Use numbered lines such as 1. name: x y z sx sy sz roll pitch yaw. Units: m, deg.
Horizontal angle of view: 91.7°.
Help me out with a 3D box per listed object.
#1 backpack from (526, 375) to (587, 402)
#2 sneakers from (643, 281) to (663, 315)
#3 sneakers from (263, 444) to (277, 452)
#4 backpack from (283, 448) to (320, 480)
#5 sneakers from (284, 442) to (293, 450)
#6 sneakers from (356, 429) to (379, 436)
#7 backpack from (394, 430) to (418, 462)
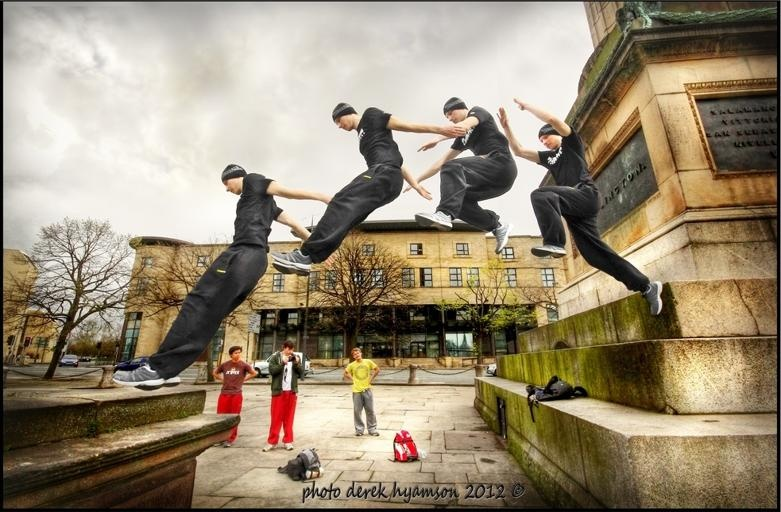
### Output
1. backpack: 2.398 1.968 5.485 0.556 0.218 0.449 4 -20 -6
2. sneakers: 3.305 0.523 4.816 0.215 0.440 0.165 -10 -4 -1
3. sneakers: -2.452 3.850 7.578 0.110 0.165 0.286 -6 -28 10
4. backpack: -1.440 3.384 6.069 0.494 0.222 0.478 0 12 -34
5. sneakers: -2.054 3.832 7.583 0.086 0.091 0.225 9 -28 -23
6. sneakers: -0.528 4.043 8.637 0.566 0.221 0.182 -4 -24 1
7. backpack: 0.238 3.420 6.802 0.341 0.209 0.543 2 -5 -4
